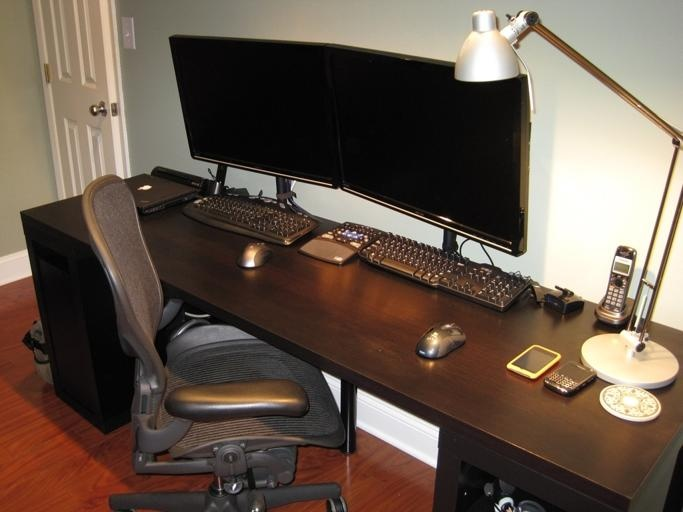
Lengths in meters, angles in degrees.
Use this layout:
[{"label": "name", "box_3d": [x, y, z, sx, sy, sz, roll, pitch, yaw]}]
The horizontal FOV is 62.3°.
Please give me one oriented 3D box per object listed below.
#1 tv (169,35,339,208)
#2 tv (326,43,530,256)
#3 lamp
[{"label": "tv", "box_3d": [-0.308, -0.496, 2.068, 0.605, 0.568, 0.212, 15, 39, 26]}, {"label": "tv", "box_3d": [0.261, -0.333, 1.690, 0.082, 0.465, 0.618, -29, 39, -32]}, {"label": "lamp", "box_3d": [0.609, -0.157, 1.452, 0.670, 0.861, 0.473, 5, 27, 10]}]
